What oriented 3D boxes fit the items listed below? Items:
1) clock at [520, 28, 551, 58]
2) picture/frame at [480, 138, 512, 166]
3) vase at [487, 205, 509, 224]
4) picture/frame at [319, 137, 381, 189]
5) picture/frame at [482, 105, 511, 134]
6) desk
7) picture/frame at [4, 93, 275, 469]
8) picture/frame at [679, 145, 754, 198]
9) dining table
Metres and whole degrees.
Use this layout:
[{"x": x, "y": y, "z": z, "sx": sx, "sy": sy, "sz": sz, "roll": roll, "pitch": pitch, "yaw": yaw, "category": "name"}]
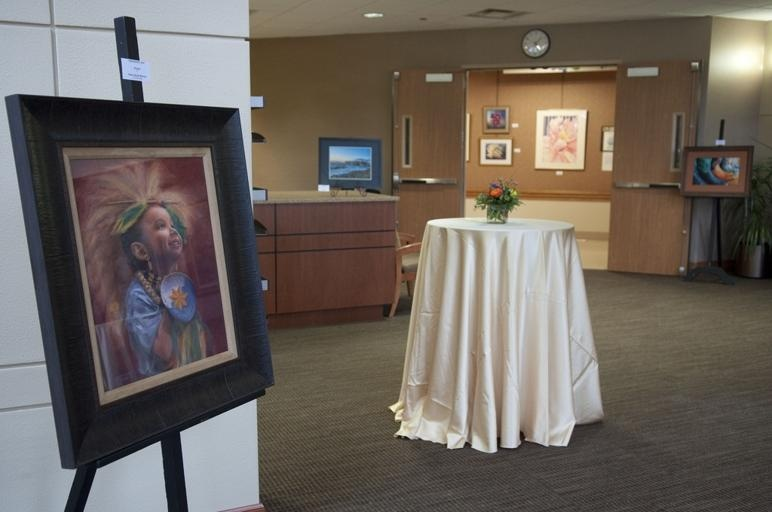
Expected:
[{"x": 2.383, "y": -3.337, "z": 8.741, "sx": 0.415, "sy": 0.448, "sz": 0.411, "roll": -5, "pitch": 3, "yaw": -1, "category": "clock"}, {"x": 2.582, "y": -2.430, "z": 12.585, "sx": 0.583, "sy": 0.530, "sz": 0.050, "roll": 1, "pitch": 2, "yaw": 2, "category": "picture/frame"}, {"x": 0.807, "y": -0.286, "z": 3.894, "sx": 0.128, "sy": 0.102, "sz": 0.131, "roll": 1, "pitch": -4, "yaw": -3, "category": "vase"}, {"x": -0.412, "y": -1.032, "z": 6.142, "sx": 0.535, "sy": 0.467, "sz": 0.042, "roll": 2, "pitch": -1, "yaw": -19, "category": "picture/frame"}, {"x": 2.566, "y": -3.143, "z": 12.441, "sx": 0.585, "sy": 0.647, "sz": 0.060, "roll": 2, "pitch": 12, "yaw": 10, "category": "picture/frame"}, {"x": -0.740, "y": -0.086, "z": 6.389, "sx": 1.547, "sy": 1.449, "sz": 1.179, "roll": -2, "pitch": 18, "yaw": -12, "category": "desk"}, {"x": -0.804, "y": 0.047, "z": 1.926, "sx": 0.750, "sy": 1.158, "sz": 0.261, "roll": -10, "pitch": 15, "yaw": -40, "category": "picture/frame"}, {"x": 4.855, "y": -1.222, "z": 7.932, "sx": 0.712, "sy": 0.667, "sz": 0.076, "roll": 2, "pitch": 1, "yaw": 18, "category": "picture/frame"}, {"x": 0.682, "y": 0.525, "z": 4.080, "sx": 1.454, "sy": 1.427, "sz": 1.361, "roll": 0, "pitch": 3, "yaw": -6, "category": "dining table"}]
